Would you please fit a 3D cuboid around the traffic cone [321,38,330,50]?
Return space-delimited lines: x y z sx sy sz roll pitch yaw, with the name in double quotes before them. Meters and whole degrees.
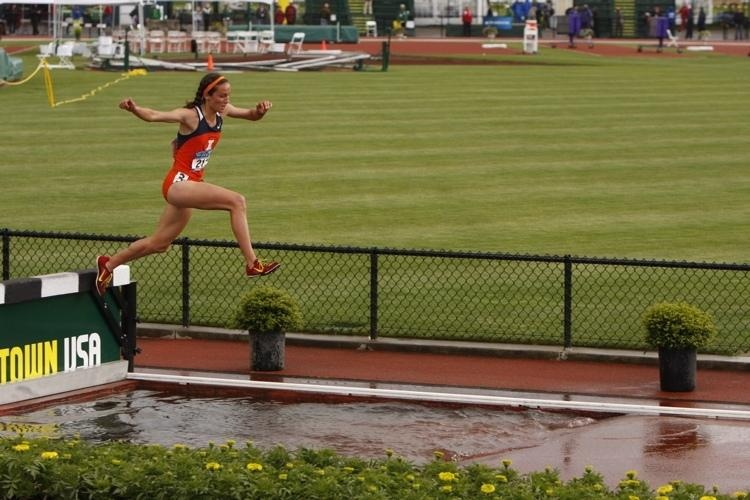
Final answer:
"traffic cone" -1.905 -7.789 66.427 0.372 0.297 0.855 18 2 -10

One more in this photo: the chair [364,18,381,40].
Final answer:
"chair" -0.126 -9.238 73.452 0.632 0.485 1.011 0 0 -3

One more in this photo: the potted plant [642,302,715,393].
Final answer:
"potted plant" 4.871 1.657 30.549 1.817 1.582 1.688 0 -1 18

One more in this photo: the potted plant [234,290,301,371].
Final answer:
"potted plant" -1.903 1.410 31.134 1.139 1.430 0.560 -2 17 -4
